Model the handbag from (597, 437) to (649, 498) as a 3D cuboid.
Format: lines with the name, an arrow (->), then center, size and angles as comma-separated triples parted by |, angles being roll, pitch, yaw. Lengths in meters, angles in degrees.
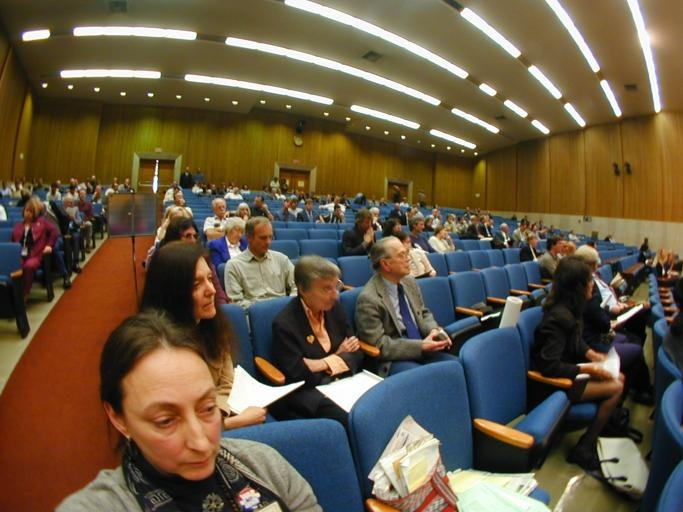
handbag -> 2.006, 1.466, 3.271 | 0.314, 0.174, 0.443 | 6, 24, 0
